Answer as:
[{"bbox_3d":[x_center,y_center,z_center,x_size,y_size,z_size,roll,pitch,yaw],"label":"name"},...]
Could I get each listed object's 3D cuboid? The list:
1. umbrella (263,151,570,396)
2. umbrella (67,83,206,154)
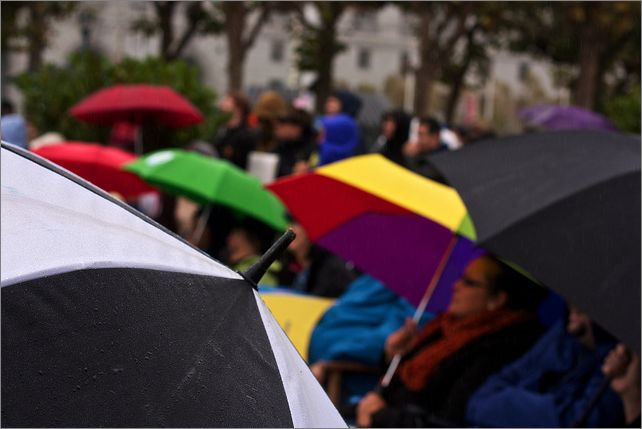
[{"bbox_3d":[0.382,-0.065,3.893,1.095,1.091,0.715,34,54,17],"label":"umbrella"},{"bbox_3d":[-1.184,-0.672,4.866,0.539,0.363,0.618,2,-16,-3],"label":"umbrella"}]
